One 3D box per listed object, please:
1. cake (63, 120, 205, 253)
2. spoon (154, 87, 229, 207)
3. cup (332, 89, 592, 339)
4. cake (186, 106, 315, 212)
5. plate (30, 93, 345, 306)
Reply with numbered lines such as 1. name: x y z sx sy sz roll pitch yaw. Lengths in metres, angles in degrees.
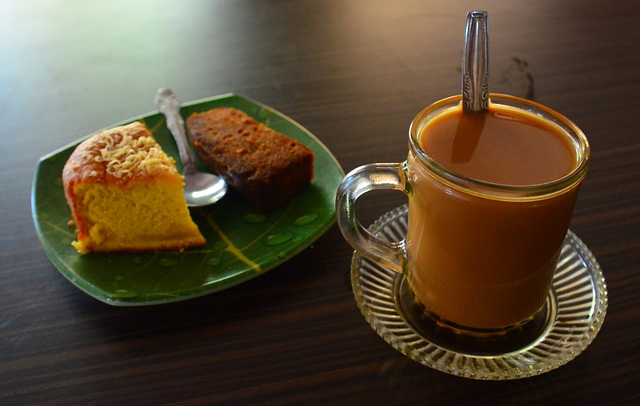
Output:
1. cake: -0.483 -0.050 1.579 0.363 0.237 0.344 -1 33 9
2. spoon: -0.382 -0.160 1.613 0.156 0.064 0.453 -16 52 -19
3. cup: 0.257 0.040 1.198 0.599 0.361 0.335 -4 33 -4
4. cake: -0.153 -0.128 1.575 0.282 0.159 0.472 -33 52 -28
5. plate: -0.331 -0.025 1.438 0.726 0.153 0.652 -32 53 -17
